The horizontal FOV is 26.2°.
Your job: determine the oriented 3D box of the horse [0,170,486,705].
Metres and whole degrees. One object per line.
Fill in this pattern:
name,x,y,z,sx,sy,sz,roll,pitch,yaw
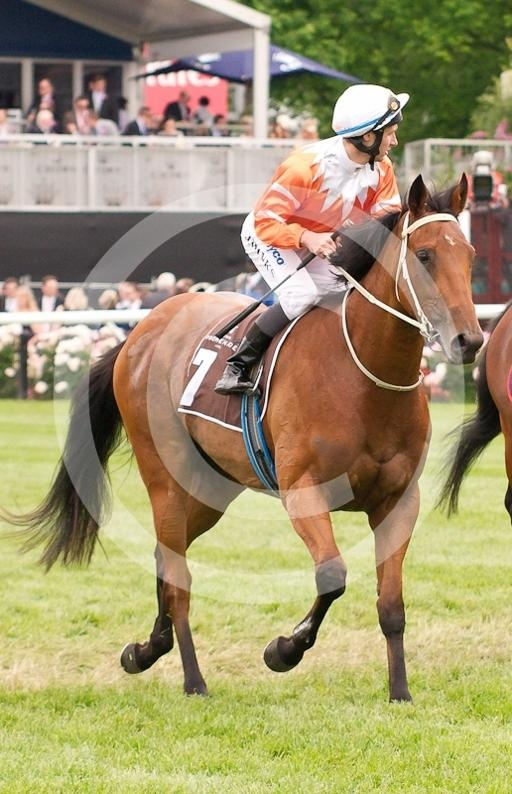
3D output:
horse,0.024,0.149,3.523,0.487,1.658,1.794,-5,11,-44

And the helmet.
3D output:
helmet,0.349,-0.854,3.278,0.256,0.120,0.166,-12,29,9
